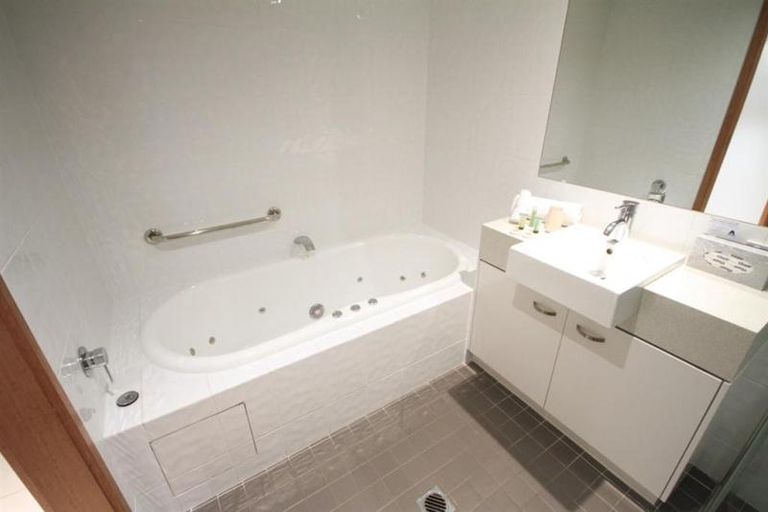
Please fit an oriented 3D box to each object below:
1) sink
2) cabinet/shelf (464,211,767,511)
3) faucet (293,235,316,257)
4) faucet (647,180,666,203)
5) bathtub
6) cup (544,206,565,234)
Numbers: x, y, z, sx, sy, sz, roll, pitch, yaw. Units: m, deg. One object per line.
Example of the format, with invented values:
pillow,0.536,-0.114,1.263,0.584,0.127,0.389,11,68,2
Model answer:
sink,1.186,0.060,2.683,0.647,0.220,0.584,-20,35,-31
cabinet/shelf,1.308,0.586,2.660,0.643,1.087,1.222,-19,37,-31
faucet,-0.584,-0.079,3.630,0.124,0.164,0.065,-20,15,27
faucet,1.533,-0.367,2.743,0.068,0.130,0.076,-31,38,-33
bathtub,-0.438,0.365,3.366,2.198,0.490,0.873,-14,26,-25
cup,1.036,-0.223,2.973,0.112,0.182,0.107,-2,33,1
